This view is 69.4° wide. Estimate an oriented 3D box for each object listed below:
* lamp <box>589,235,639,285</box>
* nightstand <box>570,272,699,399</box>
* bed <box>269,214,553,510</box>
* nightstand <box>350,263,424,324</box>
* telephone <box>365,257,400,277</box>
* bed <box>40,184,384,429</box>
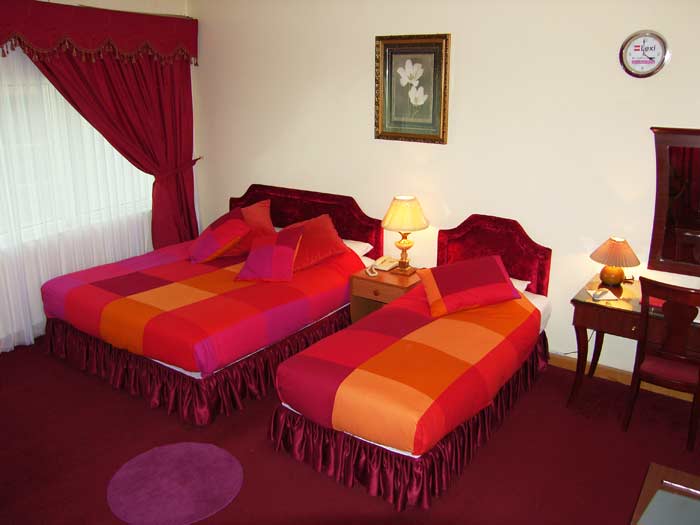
[{"bbox_3d":[2.245,-0.051,4.351,0.367,0.432,0.364,6,13,35],"label":"lamp"},{"bbox_3d":[2.478,0.386,4.450,0.918,1.238,1.178,9,15,34],"label":"nightstand"},{"bbox_3d":[0.487,0.962,4.111,1.299,1.049,1.979,17,22,41],"label":"bed"},{"bbox_3d":[0.351,0.250,5.174,0.535,0.592,0.549,9,16,32],"label":"nightstand"},{"bbox_3d":[0.329,0.034,5.315,0.210,0.067,0.232,10,32,33],"label":"telephone"},{"bbox_3d":[-1.014,0.354,4.981,2.196,1.362,2.276,12,20,35],"label":"bed"}]
